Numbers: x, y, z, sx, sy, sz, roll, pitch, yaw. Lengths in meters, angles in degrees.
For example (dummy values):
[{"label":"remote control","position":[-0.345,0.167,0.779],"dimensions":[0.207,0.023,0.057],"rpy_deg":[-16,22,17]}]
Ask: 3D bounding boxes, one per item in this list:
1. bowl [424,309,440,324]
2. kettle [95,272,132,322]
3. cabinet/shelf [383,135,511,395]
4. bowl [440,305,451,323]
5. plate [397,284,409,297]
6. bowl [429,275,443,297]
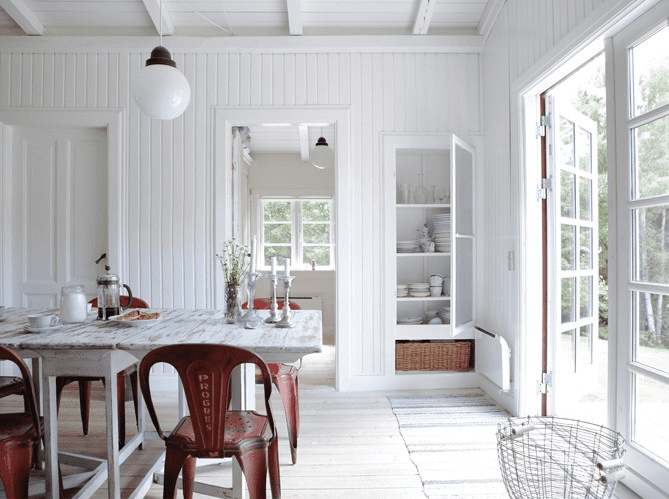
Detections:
[{"label":"bowl","position":[0.936,0.640,5.166],"dimensions":[0.127,0.111,0.092],"rpy_deg":[-1,0,14]},{"label":"kettle","position":[-1.529,0.312,3.697],"dimensions":[0.203,0.359,0.229],"rpy_deg":[6,2,-3]},{"label":"cabinet/shelf","position":[0.926,0.100,5.054],"dimensions":[1.147,2.220,0.484],"rpy_deg":[2,2,-4]},{"label":"bowl","position":[1.048,0.625,5.158],"dimensions":[0.135,0.132,0.131],"rpy_deg":[0,1,0]},{"label":"plate","position":[0.641,0.385,5.107],"dimensions":[0.118,0.046,0.115],"rpy_deg":[-2,-2,25]},{"label":"bowl","position":[0.946,0.333,5.101],"dimensions":[0.174,0.214,0.176],"rpy_deg":[0,-5,0]}]
